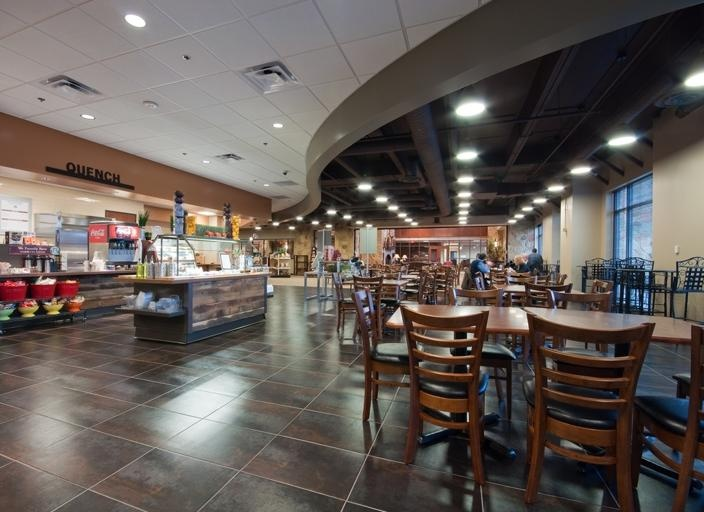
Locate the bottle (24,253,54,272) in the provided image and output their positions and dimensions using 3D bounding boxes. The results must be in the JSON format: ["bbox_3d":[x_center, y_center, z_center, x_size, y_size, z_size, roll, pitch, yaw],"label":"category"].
[{"bbox_3d":[-5.837,0.143,7.415,0.273,0.390,0.409,2,3,4],"label":"bottle"}]

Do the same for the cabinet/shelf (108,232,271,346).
[{"bbox_3d":[-2.629,0.546,6.811,1.350,1.438,2.272,2,3,21],"label":"cabinet/shelf"}]

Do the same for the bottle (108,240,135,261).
[{"bbox_3d":[-5.222,-0.128,8.843,0.171,0.424,0.491,-2,-1,19],"label":"bottle"}]
